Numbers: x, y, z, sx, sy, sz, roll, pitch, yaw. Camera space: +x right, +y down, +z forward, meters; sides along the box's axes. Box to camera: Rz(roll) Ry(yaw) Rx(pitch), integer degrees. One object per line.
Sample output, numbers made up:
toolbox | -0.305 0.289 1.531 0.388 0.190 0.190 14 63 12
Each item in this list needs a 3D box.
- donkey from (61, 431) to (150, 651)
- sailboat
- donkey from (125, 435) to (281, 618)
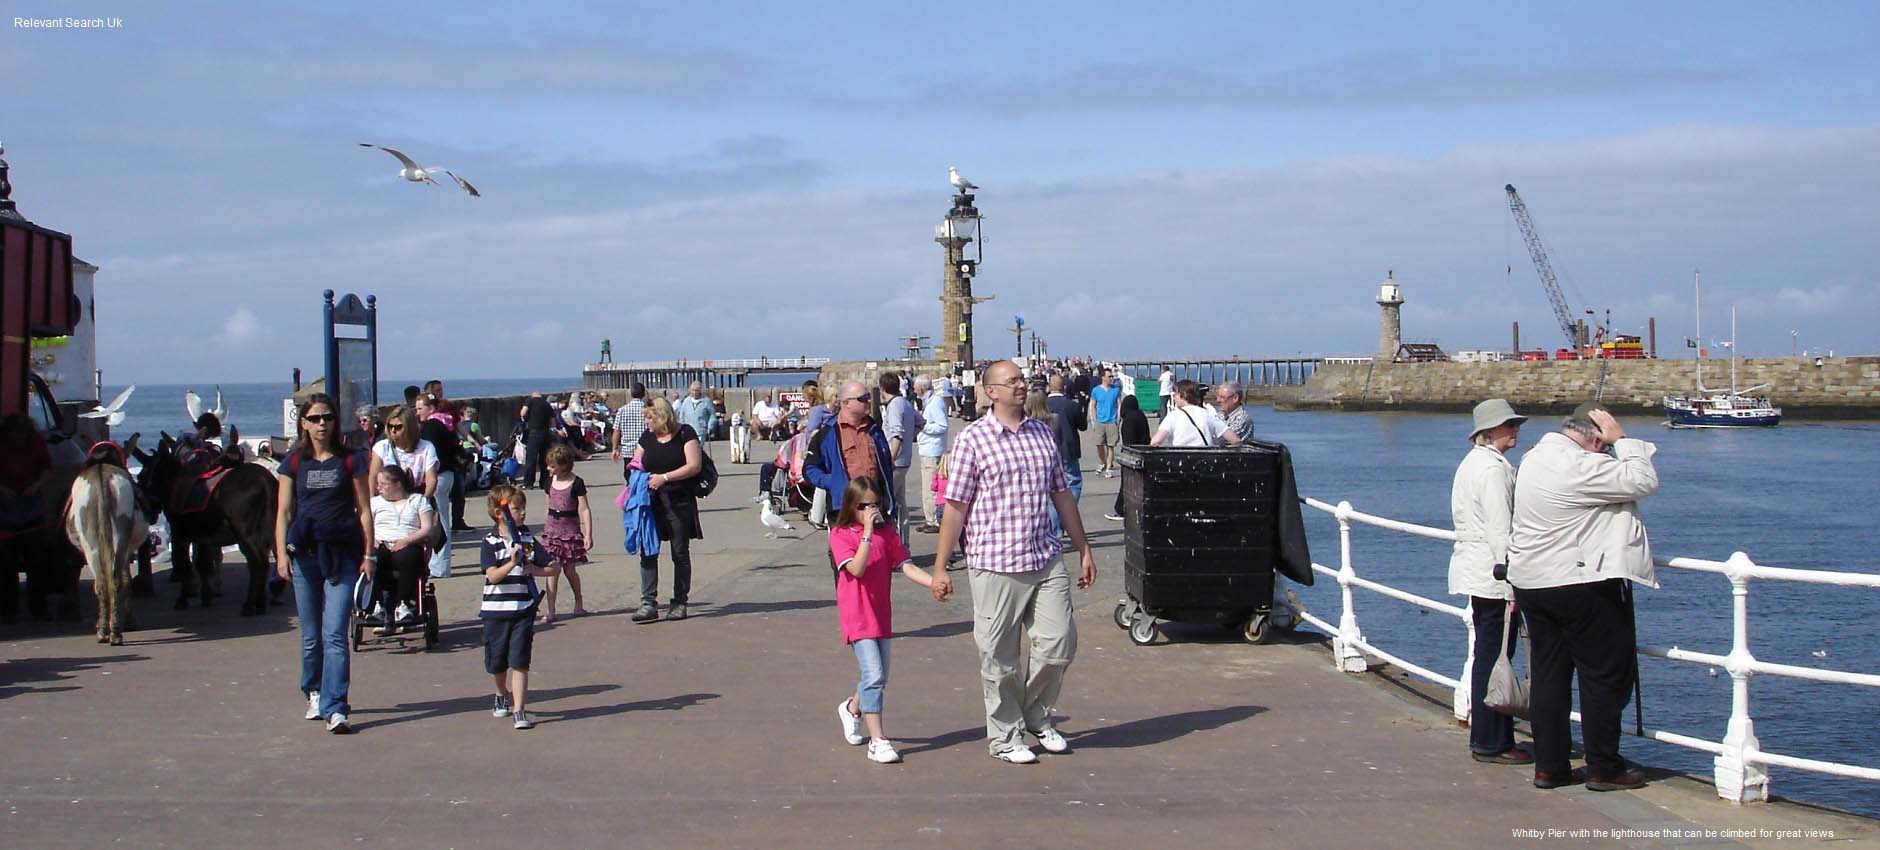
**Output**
donkey | -15.563 2.193 44.064 1.626 3.547 1.762 1 -1 -17
sailboat | 36.205 -3.578 108.307 2.821 7.229 6.546 -12 7 -29
donkey | -14.042 1.924 45.463 2.290 2.793 4.956 -1 1 -14
